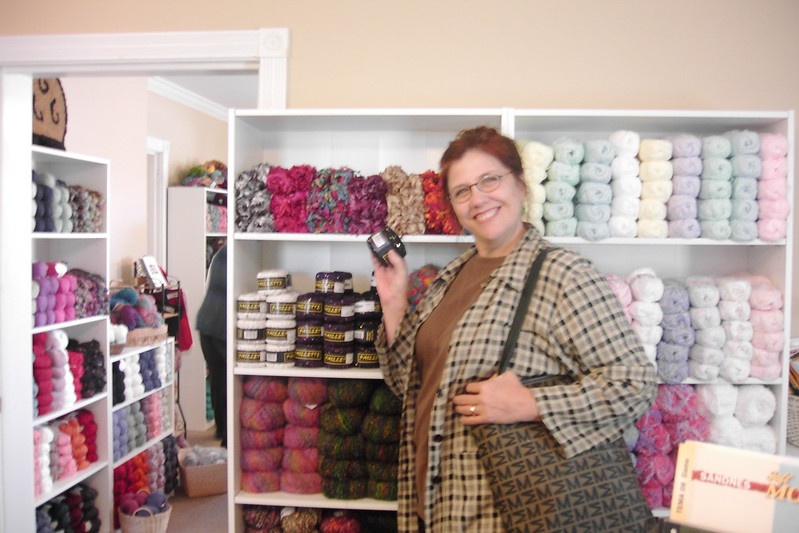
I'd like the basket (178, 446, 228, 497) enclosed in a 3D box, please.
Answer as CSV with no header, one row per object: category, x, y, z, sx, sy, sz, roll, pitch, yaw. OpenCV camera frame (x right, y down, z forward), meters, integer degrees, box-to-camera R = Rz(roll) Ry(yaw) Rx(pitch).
basket,-1.391,1.453,4.271,0.295,0.162,0.382,1,-7,-15
